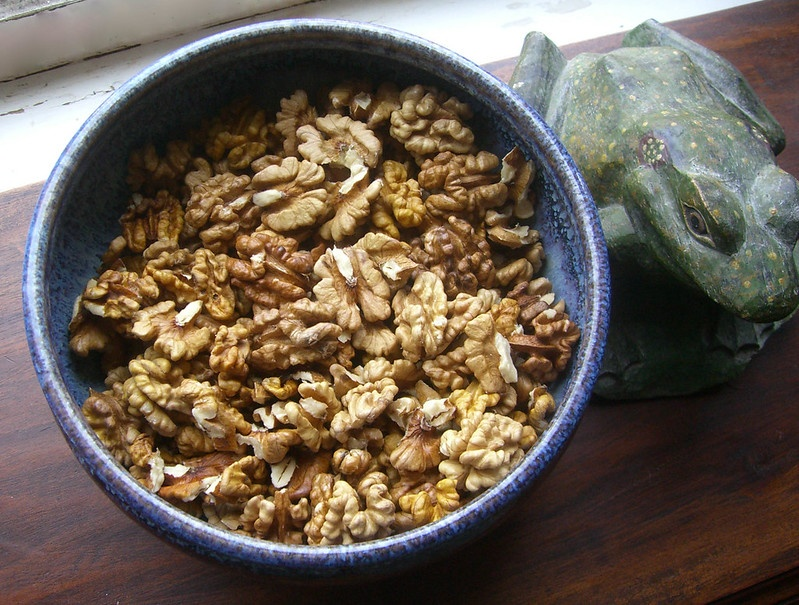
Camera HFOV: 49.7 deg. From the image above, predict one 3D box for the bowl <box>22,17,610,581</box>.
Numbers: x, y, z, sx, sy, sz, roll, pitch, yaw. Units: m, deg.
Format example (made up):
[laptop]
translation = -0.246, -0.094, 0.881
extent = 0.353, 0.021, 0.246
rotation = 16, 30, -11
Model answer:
[bowl]
translation = -0.117, -0.024, 1.316
extent = 0.850, 0.357, 0.809
rotation = 0, 57, 0
